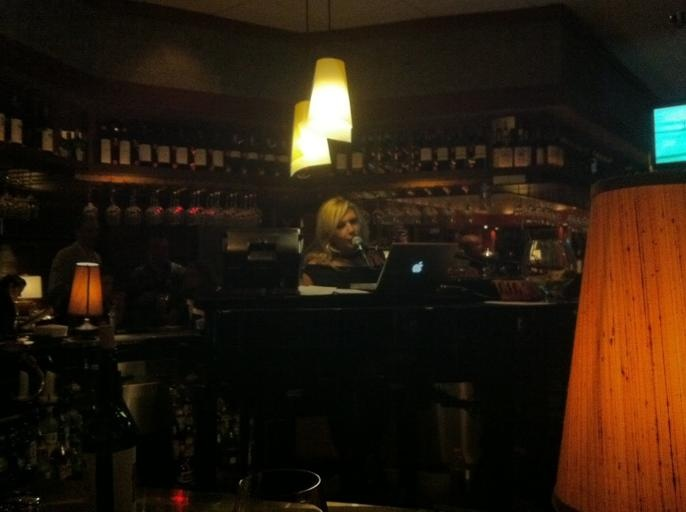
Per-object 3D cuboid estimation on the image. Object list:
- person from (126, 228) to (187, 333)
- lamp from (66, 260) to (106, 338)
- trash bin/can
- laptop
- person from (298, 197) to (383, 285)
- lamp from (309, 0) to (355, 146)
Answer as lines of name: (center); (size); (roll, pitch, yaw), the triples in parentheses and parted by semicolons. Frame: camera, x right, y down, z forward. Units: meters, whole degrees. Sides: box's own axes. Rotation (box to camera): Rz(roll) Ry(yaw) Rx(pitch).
person: (-1.745, 0.211, 6.240); (0.564, 0.931, 1.848); (2, -3, -18)
lamp: (-1.975, 0.347, 4.934); (0.279, 0.484, 0.270); (5, -5, -40)
trash bin/can: (0.620, 0.936, 3.629); (0.245, 0.528, 0.421); (0, -3, 8)
laptop: (0.312, 0.057, 3.461); (0.329, 0.180, 0.302); (0, 1, -27)
person: (0.038, -0.125, 5.343); (0.989, 0.634, 0.459); (-8, 4, -20)
lamp: (-0.067, -0.880, 3.696); (0.237, 0.480, 0.189); (1, -3, -3)
